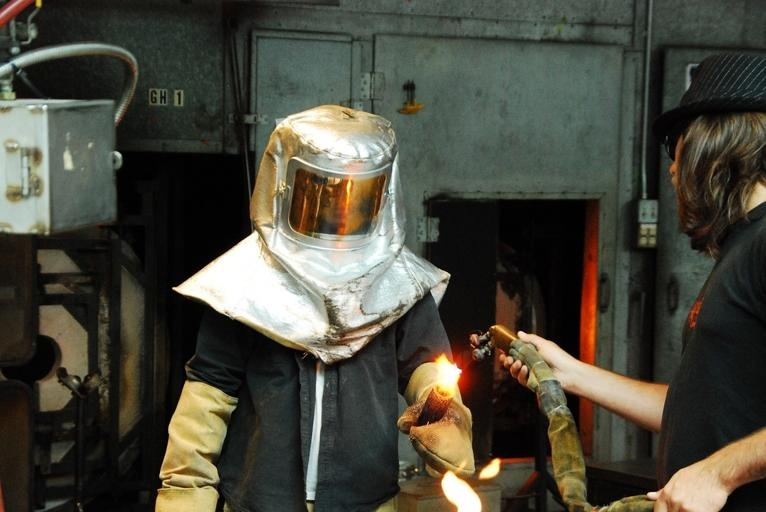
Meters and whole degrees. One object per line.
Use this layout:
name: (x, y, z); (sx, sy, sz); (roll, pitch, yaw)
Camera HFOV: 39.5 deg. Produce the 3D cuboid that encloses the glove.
glove: (0.259, 0.776, 5.256); (0.373, 0.288, 0.664); (7, 25, -11)
